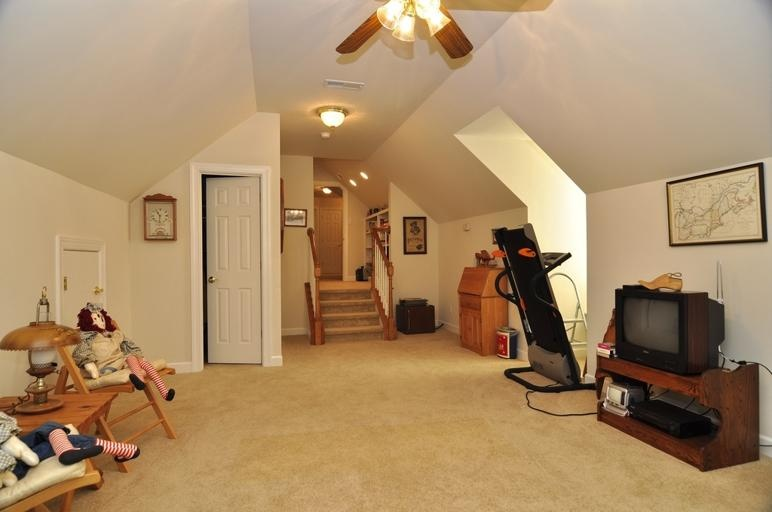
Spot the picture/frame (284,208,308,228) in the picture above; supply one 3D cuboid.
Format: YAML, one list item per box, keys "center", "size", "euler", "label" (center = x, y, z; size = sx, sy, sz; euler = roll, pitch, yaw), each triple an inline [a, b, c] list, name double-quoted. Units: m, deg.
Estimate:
- center: [-1.563, -0.644, 8.878]
  size: [0.375, 0.297, 0.030]
  euler: [2, -8, -16]
  label: "picture/frame"

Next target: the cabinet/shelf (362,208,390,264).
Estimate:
- center: [-0.071, -0.335, 10.375]
  size: [0.307, 1.002, 1.062]
  euler: [5, -9, -28]
  label: "cabinet/shelf"

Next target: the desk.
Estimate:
- center: [-2.341, 1.326, 3.829]
  size: [0.534, 0.383, 0.411]
  euler: [1, -2, -17]
  label: "desk"

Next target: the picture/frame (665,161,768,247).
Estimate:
- center: [2.901, -0.462, 4.517]
  size: [0.056, 0.651, 0.796]
  euler: [2, -5, -31]
  label: "picture/frame"

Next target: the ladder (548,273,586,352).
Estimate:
- center: [2.438, 0.772, 6.990]
  size: [0.487, 1.047, 0.701]
  euler: [3, 13, 19]
  label: "ladder"

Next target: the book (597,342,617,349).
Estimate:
- center: [2.144, 0.861, 5.039]
  size: [0.129, 0.029, 0.126]
  euler: [-4, 6, -36]
  label: "book"

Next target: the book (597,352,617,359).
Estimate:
- center: [2.111, 0.944, 4.957]
  size: [0.104, 0.023, 0.101]
  euler: [-1, 0, -22]
  label: "book"

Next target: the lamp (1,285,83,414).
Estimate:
- center: [-2.628, 0.679, 3.924]
  size: [0.458, 0.880, 0.892]
  euler: [-10, 15, -38]
  label: "lamp"

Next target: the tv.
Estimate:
- center: [2.541, 0.652, 4.697]
  size: [0.551, 0.706, 0.751]
  euler: [-1, 2, -19]
  label: "tv"

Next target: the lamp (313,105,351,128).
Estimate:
- center: [-0.690, -1.793, 6.710]
  size: [0.282, 0.164, 0.267]
  euler: [-2, -9, -2]
  label: "lamp"

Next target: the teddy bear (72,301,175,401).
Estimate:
- center: [-2.327, 0.824, 4.523]
  size: [0.997, 0.610, 0.591]
  euler: [13, 2, 21]
  label: "teddy bear"

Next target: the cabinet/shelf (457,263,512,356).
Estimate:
- center: [1.399, 0.748, 7.485]
  size: [0.524, 1.213, 0.895]
  euler: [-5, 13, -18]
  label: "cabinet/shelf"

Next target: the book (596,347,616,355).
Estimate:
- center: [2.110, 0.903, 4.977]
  size: [0.107, 0.024, 0.104]
  euler: [-1, 2, -30]
  label: "book"

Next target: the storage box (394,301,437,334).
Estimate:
- center: [0.509, 1.072, 9.055]
  size: [0.616, 0.492, 0.600]
  euler: [-1, -1, -25]
  label: "storage box"

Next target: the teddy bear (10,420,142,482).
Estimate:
- center: [-2.047, 1.241, 3.368]
  size: [0.497, 0.232, 0.326]
  euler: [-11, 1, 15]
  label: "teddy bear"

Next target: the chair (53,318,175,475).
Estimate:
- center: [-2.261, 1.260, 4.557]
  size: [0.607, 0.770, 0.648]
  euler: [-15, 14, -9]
  label: "chair"

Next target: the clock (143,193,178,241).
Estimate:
- center: [-2.746, -0.466, 6.330]
  size: [0.350, 0.548, 0.059]
  euler: [0, -11, -24]
  label: "clock"

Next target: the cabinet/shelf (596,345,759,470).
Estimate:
- center: [2.586, 1.248, 4.749]
  size: [0.708, 0.809, 1.233]
  euler: [-3, 5, -24]
  label: "cabinet/shelf"

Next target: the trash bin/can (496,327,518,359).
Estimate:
- center: [1.640, 1.191, 7.027]
  size: [0.280, 0.380, 0.244]
  euler: [2, 12, 13]
  label: "trash bin/can"
